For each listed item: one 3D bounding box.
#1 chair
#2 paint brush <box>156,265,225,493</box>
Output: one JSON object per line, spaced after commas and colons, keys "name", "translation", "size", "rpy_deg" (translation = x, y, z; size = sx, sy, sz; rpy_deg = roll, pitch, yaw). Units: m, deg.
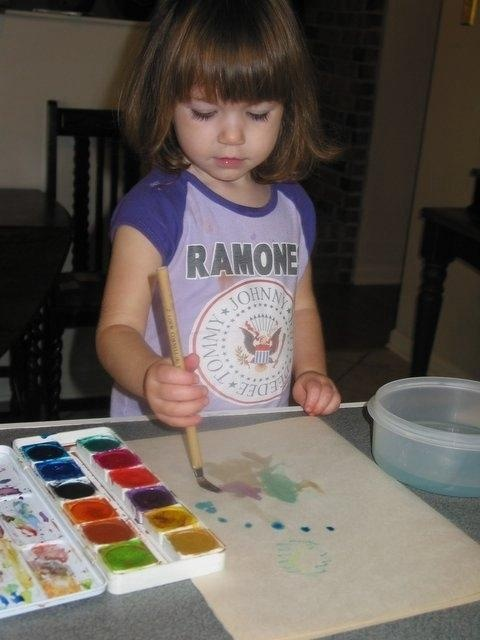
{"name": "chair", "translation": [-0.526, -0.181, 2.000], "size": [0.688, 0.965, 0.624], "rpy_deg": [3, 20, -4]}
{"name": "paint brush", "translation": [-0.033, 0.087, 0.578], "size": [0.035, 0.299, 0.032], "rpy_deg": [-11, 23, -2]}
